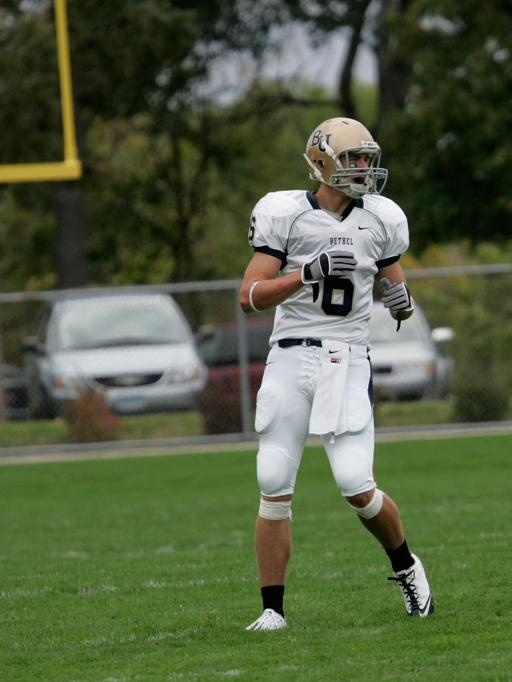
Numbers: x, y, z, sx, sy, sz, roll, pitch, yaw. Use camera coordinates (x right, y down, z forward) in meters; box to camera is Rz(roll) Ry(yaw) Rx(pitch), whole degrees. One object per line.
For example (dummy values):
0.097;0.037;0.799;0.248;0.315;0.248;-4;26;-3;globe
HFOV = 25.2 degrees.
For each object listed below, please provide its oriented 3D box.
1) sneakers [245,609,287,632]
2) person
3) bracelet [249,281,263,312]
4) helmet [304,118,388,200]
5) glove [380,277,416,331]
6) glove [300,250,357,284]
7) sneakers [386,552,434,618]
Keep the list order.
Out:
0.038;0.962;3.956;0.129;0.049;0.071;7;-13;-35;sneakers
0.271;0.106;4.115;0.654;1.815;0.750;-3;10;7;person
-0.008;-0.157;4.014;0.025;0.081;0.096;-7;-5;22;bracelet
0.383;-0.664;4.194;0.368;0.270;0.278;7;7;39;helmet
0.521;-0.137;4.233;0.086;0.173;0.120;23;39;38;glove
0.253;-0.255;3.908;0.193;0.108;0.097;-3;9;1;glove
0.579;0.886;4.102;0.106;0.268;0.134;-22;-20;26;sneakers
